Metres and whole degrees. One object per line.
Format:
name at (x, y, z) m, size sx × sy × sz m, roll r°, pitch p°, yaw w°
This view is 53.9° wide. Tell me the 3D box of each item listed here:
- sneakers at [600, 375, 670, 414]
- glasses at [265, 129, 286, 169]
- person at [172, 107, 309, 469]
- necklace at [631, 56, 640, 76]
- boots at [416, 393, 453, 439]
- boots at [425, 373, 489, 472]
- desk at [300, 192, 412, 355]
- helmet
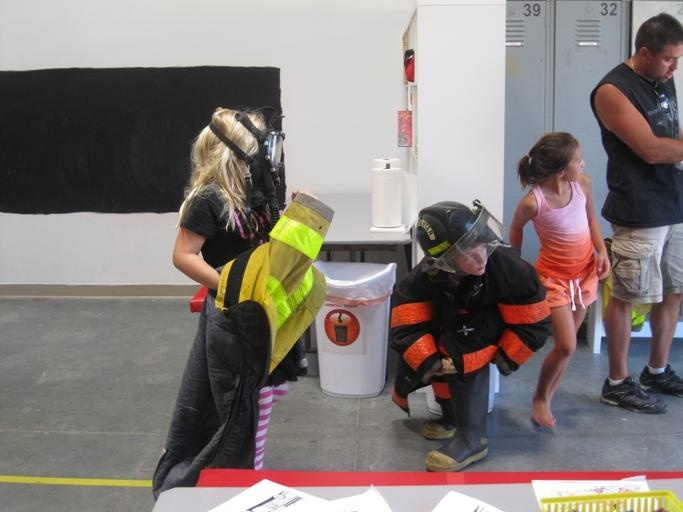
sneakers at (1.737, 0.841, 4.030) m, size 0.377 × 0.193 × 0.166 m, roll 3°, pitch 7°, yaw 15°
glasses at (-0.299, -0.467, 2.912) m, size 0.053 × 0.153 × 0.107 m, roll 2°, pitch 7°, yaw 20°
person at (-0.480, -0.247, 2.900) m, size 0.546 × 0.739 × 0.474 m, roll -9°, pitch 18°, yaw -15°
necklace at (1.683, -1.097, 3.857) m, size 0.024 × 0.097 × 0.071 m, roll -4°, pitch -3°, yaw 35°
boots at (0.580, 0.939, 3.882) m, size 0.239 × 0.233 × 0.116 m, roll -1°, pitch -12°, yaw -35°
boots at (0.604, 0.858, 3.586) m, size 0.395 × 0.534 × 0.199 m, roll -6°, pitch 5°, yaw -26°
desk at (-0.004, 0.277, 4.662) m, size 0.794 × 0.772 × 0.795 m, roll -11°, pitch 8°, yaw -14°
helmet at (0.574, -0.098, 3.287) m, size 0.360 × 0.343 × 0.329 m, roll 1°, pitch 41°, yaw 31°
